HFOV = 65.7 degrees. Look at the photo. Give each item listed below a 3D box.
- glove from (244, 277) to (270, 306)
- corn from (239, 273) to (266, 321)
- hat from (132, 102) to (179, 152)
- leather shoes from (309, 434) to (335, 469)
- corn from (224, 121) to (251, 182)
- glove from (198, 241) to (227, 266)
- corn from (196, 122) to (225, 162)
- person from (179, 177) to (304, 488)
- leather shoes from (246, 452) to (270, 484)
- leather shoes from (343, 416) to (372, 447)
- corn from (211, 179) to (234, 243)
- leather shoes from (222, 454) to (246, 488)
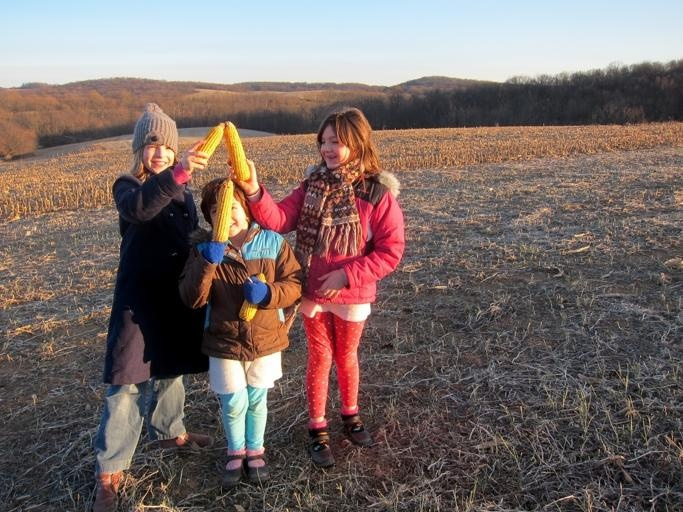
[{"bbox_3d":[-0.652,0.274,4.033,0.191,0.225,0.171,-5,17,-12],"label":"glove"},{"bbox_3d":[-0.694,0.294,4.073,0.181,0.334,0.094,16,16,3],"label":"corn"},{"bbox_3d":[-1.522,-1.029,4.357,0.349,0.445,0.409,0,7,-22],"label":"hat"},{"bbox_3d":[-0.179,1.598,4.488,0.165,0.220,0.494,-3,-1,-11],"label":"leather shoes"},{"bbox_3d":[-0.831,-0.789,4.137,0.144,0.539,0.139,-15,10,-22],"label":"corn"},{"bbox_3d":[-0.972,-0.007,3.948,0.147,0.192,0.197,1,-13,-9],"label":"glove"},{"bbox_3d":[-0.991,-0.910,4.101,0.118,0.131,0.448,18,47,5],"label":"corn"},{"bbox_3d":[-0.778,0.585,4.206,0.923,2.315,0.616,-7,17,-19],"label":"person"},{"bbox_3d":[-0.673,1.659,4.247,0.110,0.340,0.096,-1,33,5],"label":"leather shoes"},{"bbox_3d":[0.124,1.502,4.601,0.123,0.179,0.381,-4,1,-19],"label":"leather shoes"},{"bbox_3d":[-0.901,-0.343,3.980,0.141,0.425,0.294,1,17,7],"label":"corn"},{"bbox_3d":[-0.870,1.706,4.228,0.106,0.122,0.318,2,7,-6],"label":"leather shoes"}]
